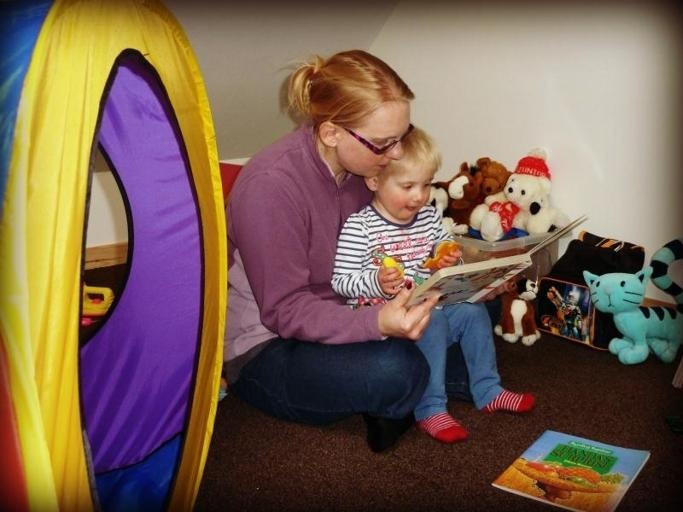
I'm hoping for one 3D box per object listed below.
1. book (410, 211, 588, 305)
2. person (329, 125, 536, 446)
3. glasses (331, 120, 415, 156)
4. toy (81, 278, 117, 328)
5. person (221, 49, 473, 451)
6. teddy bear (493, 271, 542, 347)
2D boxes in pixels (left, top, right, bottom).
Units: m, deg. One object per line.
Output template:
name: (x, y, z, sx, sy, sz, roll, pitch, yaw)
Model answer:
book: (0.553, 0.013, 1.887, 0.511, 0.070, 0.675, -12, -16, -38)
person: (0.274, 0.039, 1.626, 0.441, 0.817, 0.582, -14, 18, -42)
glasses: (0.083, -0.303, 1.473, 0.105, 0.029, 0.109, 37, 49, 17)
toy: (-0.965, 0.167, 2.208, 0.112, 0.149, 0.279, -6, 16, -22)
person: (-0.037, -0.030, 1.520, 0.580, 1.020, 0.369, 2, 14, 9)
teddy bear: (0.682, 0.195, 2.152, 0.193, 0.250, 0.162, 5, 13, -21)
